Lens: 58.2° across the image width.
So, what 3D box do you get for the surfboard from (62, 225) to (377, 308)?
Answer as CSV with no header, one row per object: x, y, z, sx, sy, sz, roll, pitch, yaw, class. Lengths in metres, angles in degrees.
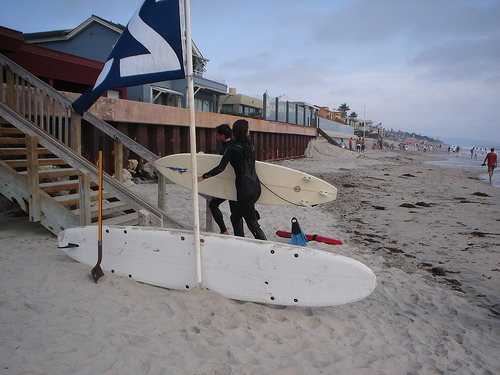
-0.567,1.104,6.092,4.278,1.057,0.464,9,5,11,surfboard

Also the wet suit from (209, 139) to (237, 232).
-0.459,-0.022,7.248,0.341,1.491,0.458,7,11,4,wet suit
